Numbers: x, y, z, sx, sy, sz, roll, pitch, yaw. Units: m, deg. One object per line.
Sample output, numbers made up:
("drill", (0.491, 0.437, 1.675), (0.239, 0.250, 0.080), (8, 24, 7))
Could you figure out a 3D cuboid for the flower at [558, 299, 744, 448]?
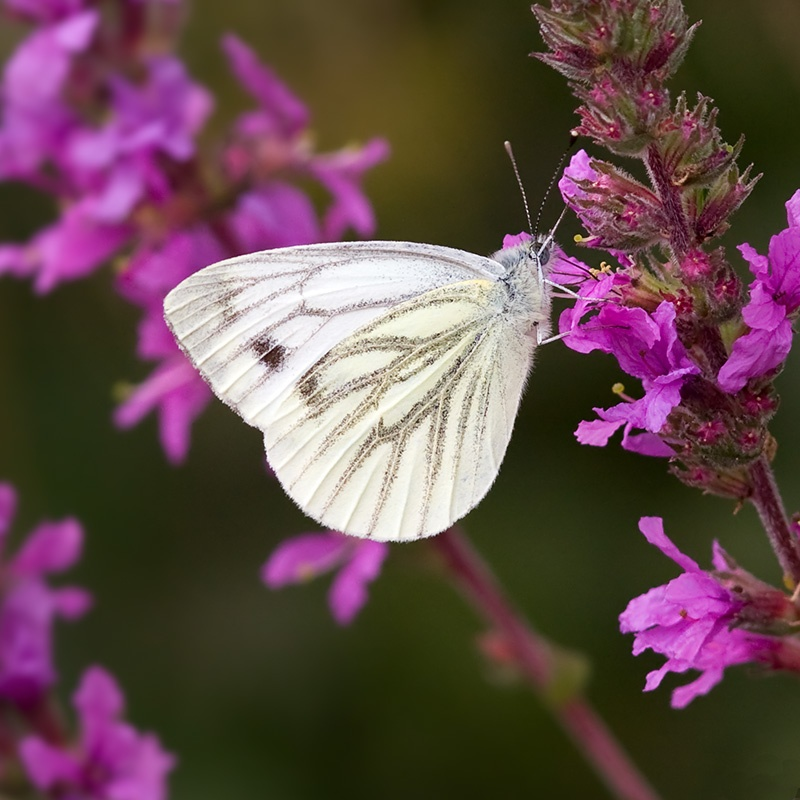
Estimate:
("flower", (0.508, -0.079, 2.155), (0.285, 0.265, 0.157), (-17, -20, -43))
